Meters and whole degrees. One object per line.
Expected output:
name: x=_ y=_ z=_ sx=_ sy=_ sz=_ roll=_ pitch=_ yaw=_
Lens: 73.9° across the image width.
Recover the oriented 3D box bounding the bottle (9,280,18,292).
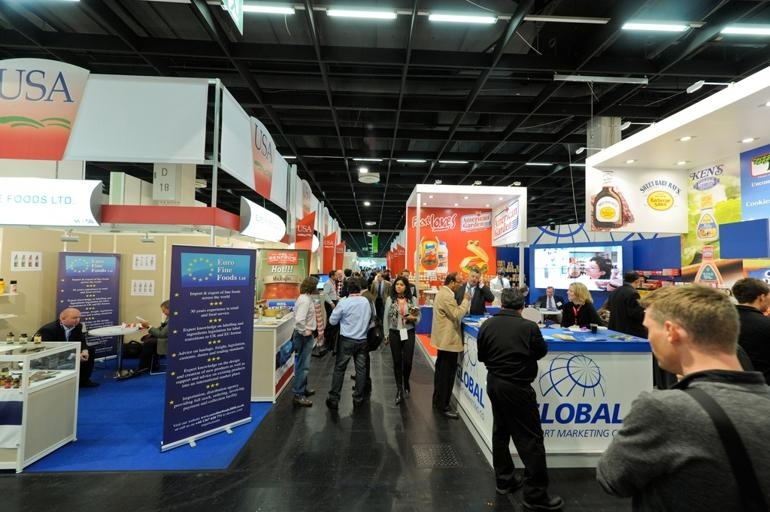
bottle: x=-5.823 y=0.475 z=8.045 sx=0.083 sy=0.204 sz=0.260 roll=2 pitch=-3 yaw=-37

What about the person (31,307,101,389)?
person: x=-4.931 y=1.378 z=7.911 sx=0.834 sy=1.181 sz=0.615 roll=8 pitch=8 yaw=12

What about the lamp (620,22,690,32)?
lamp: x=4.100 y=-3.481 z=7.848 sx=1.190 sy=0.161 sz=0.086 roll=-1 pitch=19 yaw=-3

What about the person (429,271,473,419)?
person: x=0.935 y=1.269 z=7.335 sx=0.528 sy=2.051 sz=0.639 roll=-1 pitch=-3 yaw=4

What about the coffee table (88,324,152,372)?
coffee table: x=-4.375 y=1.485 z=8.521 sx=1.013 sy=0.697 sz=0.946 roll=1 pitch=4 yaw=-9

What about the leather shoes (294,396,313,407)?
leather shoes: x=-1.217 y=2.155 z=7.567 sx=0.304 sy=0.132 sz=0.123 roll=1 pitch=-3 yaw=0

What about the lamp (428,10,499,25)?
lamp: x=1.203 y=-3.637 z=7.751 sx=1.538 sy=0.245 sz=0.107 roll=0 pitch=0 yaw=0

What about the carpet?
carpet: x=-3.089 y=2.344 z=8.237 sx=2.415 sy=0.155 sz=2.587 roll=-23 pitch=-35 yaw=-4

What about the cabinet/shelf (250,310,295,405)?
cabinet/shelf: x=-1.910 y=1.645 z=8.551 sx=0.601 sy=1.079 sz=1.833 roll=0 pitch=-2 yaw=-2

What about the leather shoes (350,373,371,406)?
leather shoes: x=-0.345 y=2.068 z=7.837 sx=0.197 sy=0.248 sz=0.570 roll=1 pitch=11 yaw=-1

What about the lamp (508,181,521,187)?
lamp: x=3.916 y=-2.186 z=15.482 sx=0.381 sy=0.089 sz=0.209 roll=-2 pitch=1 yaw=3

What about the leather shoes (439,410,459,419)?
leather shoes: x=0.926 y=2.262 z=7.269 sx=0.211 sy=0.080 sz=0.081 roll=-5 pitch=-7 yaw=22

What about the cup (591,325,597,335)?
cup: x=2.723 y=0.969 z=6.683 sx=0.111 sy=0.118 sz=0.109 roll=0 pitch=-2 yaw=0

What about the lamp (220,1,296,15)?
lamp: x=-1.801 y=-3.575 z=7.333 sx=0.907 sy=0.064 sz=0.130 roll=1 pitch=-9 yaw=-4

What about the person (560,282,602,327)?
person: x=3.161 y=0.790 z=8.201 sx=0.465 sy=1.113 sz=0.632 roll=3 pitch=-7 yaw=-15

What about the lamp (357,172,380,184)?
lamp: x=-0.418 y=-2.134 z=13.405 sx=0.466 sy=0.282 sz=0.746 roll=-1 pitch=-2 yaw=4
